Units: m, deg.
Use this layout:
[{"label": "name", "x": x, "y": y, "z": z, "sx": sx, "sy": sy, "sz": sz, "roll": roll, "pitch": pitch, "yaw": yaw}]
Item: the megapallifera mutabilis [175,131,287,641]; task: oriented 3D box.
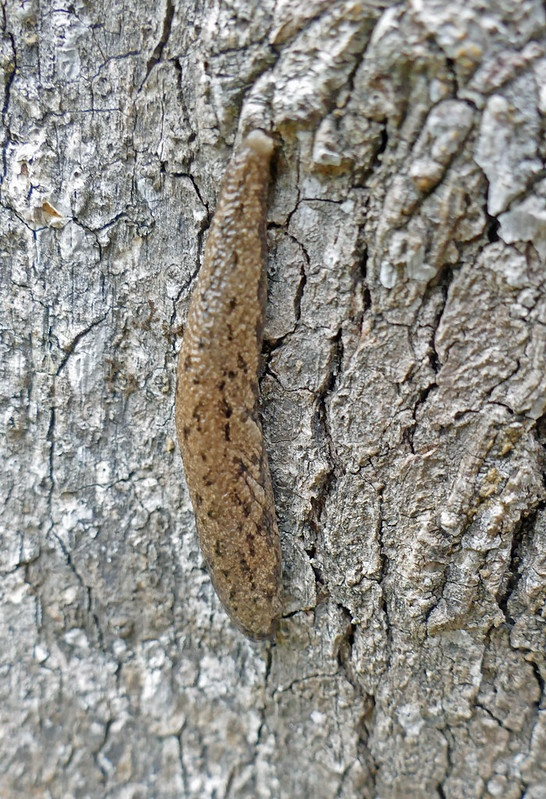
[{"label": "megapallifera mutabilis", "x": -0.099, "y": -0.019, "z": 2.123, "sx": 0.157, "sy": 0.201, "sz": 0.871, "roll": -3, "pitch": 100, "yaw": -32}]
